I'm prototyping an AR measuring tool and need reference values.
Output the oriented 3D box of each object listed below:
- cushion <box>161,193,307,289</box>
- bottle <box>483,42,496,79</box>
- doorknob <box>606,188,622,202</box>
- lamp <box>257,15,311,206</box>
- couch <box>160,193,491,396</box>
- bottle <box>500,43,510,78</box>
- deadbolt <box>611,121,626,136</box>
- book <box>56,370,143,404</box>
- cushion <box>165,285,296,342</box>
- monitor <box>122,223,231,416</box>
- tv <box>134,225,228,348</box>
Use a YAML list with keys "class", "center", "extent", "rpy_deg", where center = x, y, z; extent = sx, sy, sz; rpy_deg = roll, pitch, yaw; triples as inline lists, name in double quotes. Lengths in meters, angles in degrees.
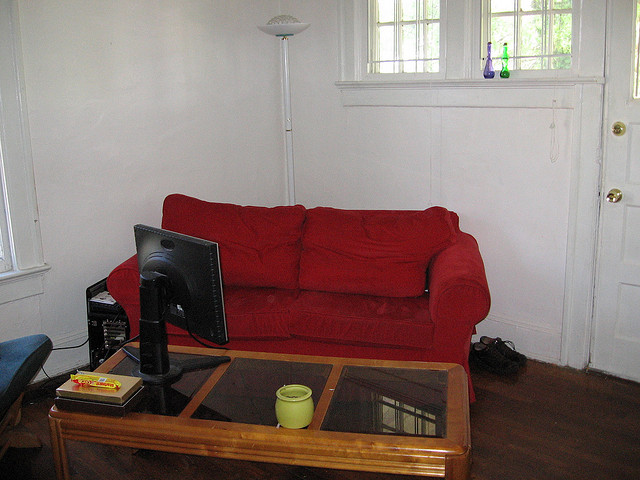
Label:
- class: "cushion"
  center: [-0.499, -0.020, 3.176]
  extent: [0.818, 0.587, 0.219]
  rpy_deg: [-1, -15, 3]
- class: "bottle"
  center: [1.134, -1.194, 3.459]
  extent: [0.069, 0.247, 0.147]
  rpy_deg: [3, 12, 18]
- class: "doorknob"
  center: [1.780, -0.267, 3.130]
  extent: [0.082, 0.084, 0.032]
  rpy_deg: [6, 14, 31]
- class: "lamp"
  center: [-0.251, -0.926, 3.878]
  extent: [0.349, 1.351, 0.643]
  rpy_deg: [-2, 12, -5]
- class: "couch"
  center: [0.067, 0.308, 3.252]
  extent: [1.826, 1.018, 0.765]
  rpy_deg: [1, 12, 11]
- class: "bottle"
  center: [1.226, -1.182, 3.420]
  extent: [0.059, 0.230, 0.121]
  rpy_deg: [3, 13, 19]
- class: "deadbolt"
  center: [1.771, -0.654, 3.071]
  extent: [0.075, 0.077, 0.020]
  rpy_deg: [5, 13, 27]
- class: "book"
  center: [-0.910, 0.593, 2.167]
  extent: [0.317, 0.081, 0.196]
  rpy_deg: [1, 12, 13]
- class: "cushion"
  center: [-0.459, 0.397, 2.671]
  extent: [0.406, 0.380, 0.101]
  rpy_deg: [4, -2, 11]
- class: "monitor"
  center: [-0.724, 0.304, 2.223]
  extent: [0.576, 0.645, 0.481]
  rpy_deg: [9, 18, 23]
- class: "tv"
  center: [-0.680, 0.208, 2.226]
  extent: [0.540, 0.463, 0.192]
  rpy_deg: [11, 21, 30]
